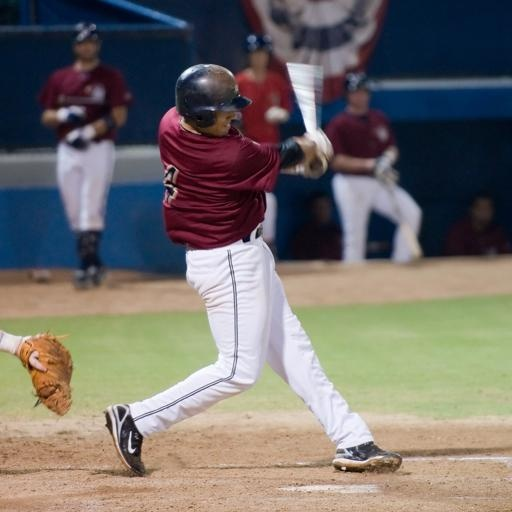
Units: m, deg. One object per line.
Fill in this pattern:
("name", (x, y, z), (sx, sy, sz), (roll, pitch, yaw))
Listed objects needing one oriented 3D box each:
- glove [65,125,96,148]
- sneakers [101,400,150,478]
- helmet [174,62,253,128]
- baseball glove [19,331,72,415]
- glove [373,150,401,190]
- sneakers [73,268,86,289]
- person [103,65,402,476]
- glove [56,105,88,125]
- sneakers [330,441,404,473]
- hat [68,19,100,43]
("glove", (-0.974, -0.665, 5.956), (0.058, 0.126, 0.311), (2, 11, 14))
("sneakers", (-0.477, 0.652, 3.936), (0.151, 0.282, 0.099), (-24, 4, 6))
("helmet", (-0.150, -0.558, 3.772), (0.287, 0.189, 0.194), (0, 15, 8))
("baseball glove", (-0.750, 0.425, 4.040), (0.232, 0.290, 0.131), (-22, -1, 44))
("glove", (0.837, -0.556, 6.904), (0.071, 0.229, 0.180), (13, 21, 17))
("sneakers", (-1.045, 0.133, 6.388), (0.080, 0.111, 0.113), (3, 15, 1))
("person", (-0.052, 0.055, 3.916), (1.037, 1.492, 0.316), (-1, 12, 2))
("glove", (-1.008, -0.771, 5.829), (0.103, 0.103, 0.372), (29, -1, -5))
("sneakers", (0.396, 0.726, 3.873), (0.234, 0.092, 0.103), (-2, -2, 4))
("hat", (-0.917, -1.205, 5.713), (0.118, 0.103, 0.036), (-7, 27, -23))
